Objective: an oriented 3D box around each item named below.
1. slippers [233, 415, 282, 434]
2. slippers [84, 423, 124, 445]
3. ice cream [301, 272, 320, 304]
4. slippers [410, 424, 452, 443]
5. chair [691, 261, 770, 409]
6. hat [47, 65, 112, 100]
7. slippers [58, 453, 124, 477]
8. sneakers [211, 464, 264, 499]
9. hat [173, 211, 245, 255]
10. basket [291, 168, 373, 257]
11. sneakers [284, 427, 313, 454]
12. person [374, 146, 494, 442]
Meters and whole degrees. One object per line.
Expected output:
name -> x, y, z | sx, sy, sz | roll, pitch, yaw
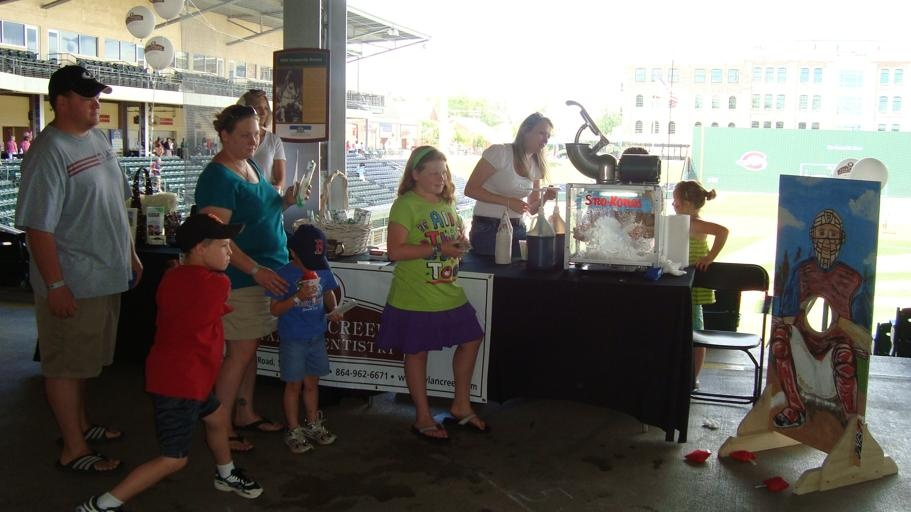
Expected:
slippers -> -1.545, 1.337, 4.939 | 0.390, 0.082, 0.141 | 3, 8, 2
slippers -> -2.669, 1.371, 4.800 | 0.322, 0.092, 0.107 | 2, 7, 2
ice cream -> -1.041, 0.203, 4.509 | 0.120, 0.176, 0.124 | 2, 7, -11
slippers -> -0.185, 1.360, 4.836 | 0.246, 0.059, 0.125 | 7, 23, 33
chair -> 2.461, 0.650, 5.576 | 0.630, 1.209, 1.416 | 7, 8, 27
hat -> -2.673, -1.231, 4.440 | 0.440, 0.207, 0.288 | -6, 16, 3
slippers -> -2.598, 1.493, 4.471 | 0.459, 0.119, 0.168 | 1, 4, 3
sneakers -> -1.491, 1.546, 4.389 | 0.425, 0.179, 0.159 | 9, 10, 5
hat -> -1.646, -0.196, 4.169 | 0.432, 0.188, 0.253 | -17, 16, 0
basket -> -1.031, -0.390, 5.652 | 0.968, 0.791, 0.674 | 6, 11, 19
sneakers -> -1.184, 1.369, 4.738 | 0.239, 0.104, 0.151 | 16, 18, 31
person -> -0.160, 0.270, 4.768 | 0.798, 2.156, 0.280 | 2, 7, -7
